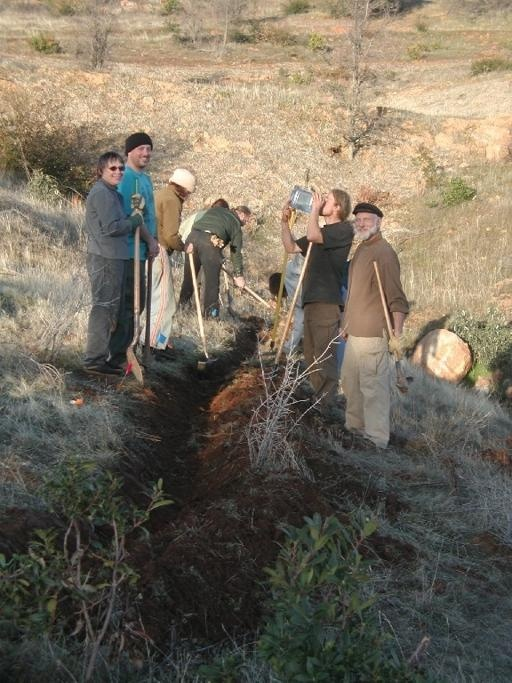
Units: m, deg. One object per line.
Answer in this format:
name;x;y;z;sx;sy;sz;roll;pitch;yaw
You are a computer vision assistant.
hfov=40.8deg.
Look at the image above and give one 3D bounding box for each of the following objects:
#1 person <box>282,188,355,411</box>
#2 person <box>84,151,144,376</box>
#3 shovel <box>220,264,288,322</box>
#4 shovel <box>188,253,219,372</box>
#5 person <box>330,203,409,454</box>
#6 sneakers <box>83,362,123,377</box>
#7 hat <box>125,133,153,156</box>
person;0.501;-0.407;6.226;0.678;1.831;0.792;4;2;-22
person;-1.242;-0.633;5.774;0.372;1.835;0.620;11;16;22
shovel;-0.121;-0.669;9.577;0.359;0.256;2.390;1;9;-17
shovel;-0.613;-0.312;8.009;0.119;1.337;0.215;-9;-3;-5
person;0.932;-0.103;5.564;0.543;1.964;0.526;9;15;13
sneakers;-1.307;0.236;5.833;0.356;0.126;0.111;-1;8;-24
hat;-1.054;-1.724;6.036;0.213;0.201;0.269;-3;15;-27
